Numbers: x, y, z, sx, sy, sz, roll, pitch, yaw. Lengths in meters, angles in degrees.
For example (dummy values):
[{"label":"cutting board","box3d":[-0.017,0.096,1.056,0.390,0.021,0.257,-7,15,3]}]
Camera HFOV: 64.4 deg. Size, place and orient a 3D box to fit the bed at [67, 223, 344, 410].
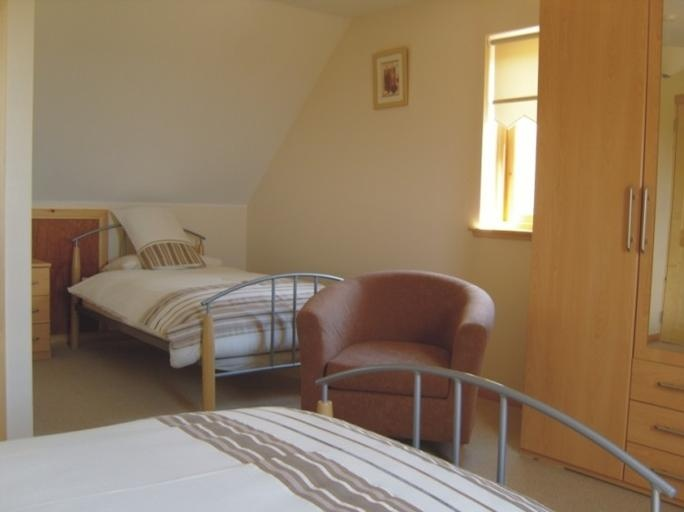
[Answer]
[{"label":"bed","box3d":[-0.985,0.297,3.567,0.978,0.724,1.397,-6,11,-37]}]
